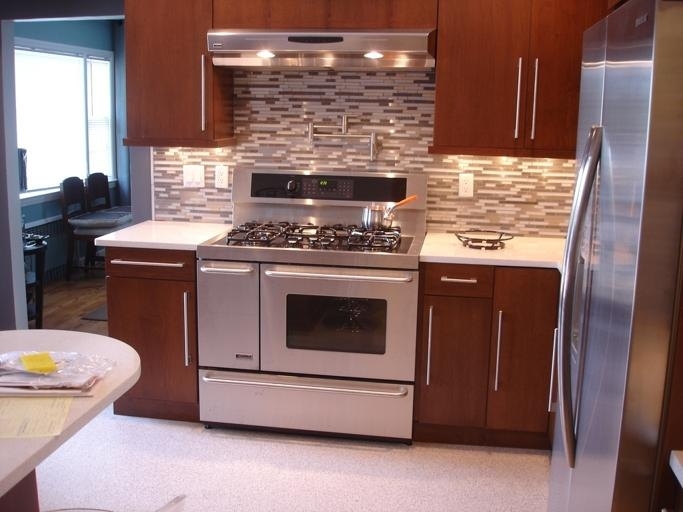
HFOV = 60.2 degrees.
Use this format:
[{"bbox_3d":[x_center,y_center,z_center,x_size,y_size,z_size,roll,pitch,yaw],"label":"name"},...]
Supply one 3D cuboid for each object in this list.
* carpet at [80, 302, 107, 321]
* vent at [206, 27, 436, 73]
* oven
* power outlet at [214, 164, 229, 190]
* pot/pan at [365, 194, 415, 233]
[{"bbox_3d":[-2.197,0.477,5.219,0.206,0.101,0.569,-5,15,-24],"label":"carpet"},{"bbox_3d":[-0.118,-1.135,3.232,1.234,0.184,0.239,4,14,13],"label":"vent"},{"bbox_3d":[-0.157,0.457,3.473,1.237,1.046,0.689,2,5,13],"label":"oven"},{"bbox_3d":[-0.771,-0.505,3.779,0.101,0.150,0.028,4,13,13],"label":"power outlet"},{"bbox_3d":[0.259,-0.248,3.422,0.167,0.208,0.320,-10,13,-40],"label":"pot/pan"}]
